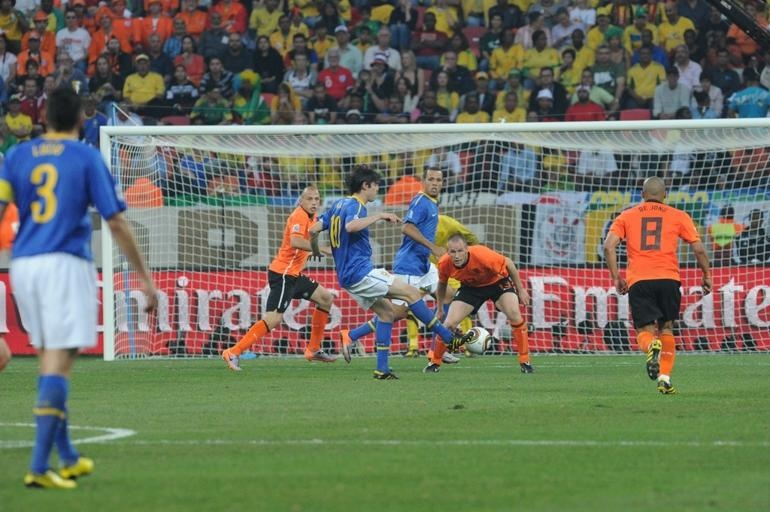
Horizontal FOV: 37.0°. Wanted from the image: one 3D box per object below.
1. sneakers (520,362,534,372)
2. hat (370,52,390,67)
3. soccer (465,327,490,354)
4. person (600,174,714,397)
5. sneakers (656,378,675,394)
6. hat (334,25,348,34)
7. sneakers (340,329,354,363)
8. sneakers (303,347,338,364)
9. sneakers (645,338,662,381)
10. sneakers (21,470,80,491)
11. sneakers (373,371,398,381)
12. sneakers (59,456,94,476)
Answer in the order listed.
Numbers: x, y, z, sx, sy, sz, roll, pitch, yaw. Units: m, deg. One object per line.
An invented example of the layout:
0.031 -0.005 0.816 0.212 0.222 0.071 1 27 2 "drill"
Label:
1.939 1.551 15.857 0.088 0.104 0.231 2 -9 -21 "sneakers"
-0.061 -3.791 22.336 0.327 0.163 0.311 19 -12 -31 "hat"
1.258 1.154 15.495 0.322 0.352 0.341 1 29 5 "soccer"
3.306 0.343 14.065 1.205 2.649 0.657 -1 -4 5 "person"
3.396 1.574 13.910 0.218 0.180 0.241 -1 -5 5 "sneakers"
-0.855 -4.478 22.755 0.222 0.149 0.349 -3 -9 2 "hat"
-0.564 1.270 16.311 0.245 0.545 0.187 -5 13 4 "sneakers"
-1.002 1.513 17.267 0.596 0.273 0.211 1 -4 -3 "sneakers"
3.224 1.251 13.809 0.178 0.465 0.204 -1 5 16 "sneakers"
-3.258 2.201 11.310 0.529 0.202 0.188 1 2 -5 "sneakers"
-0.001 1.591 15.197 0.331 0.134 0.114 1 -2 -5 "sneakers"
-3.034 2.110 11.453 0.305 0.149 0.126 -23 -18 0 "sneakers"
